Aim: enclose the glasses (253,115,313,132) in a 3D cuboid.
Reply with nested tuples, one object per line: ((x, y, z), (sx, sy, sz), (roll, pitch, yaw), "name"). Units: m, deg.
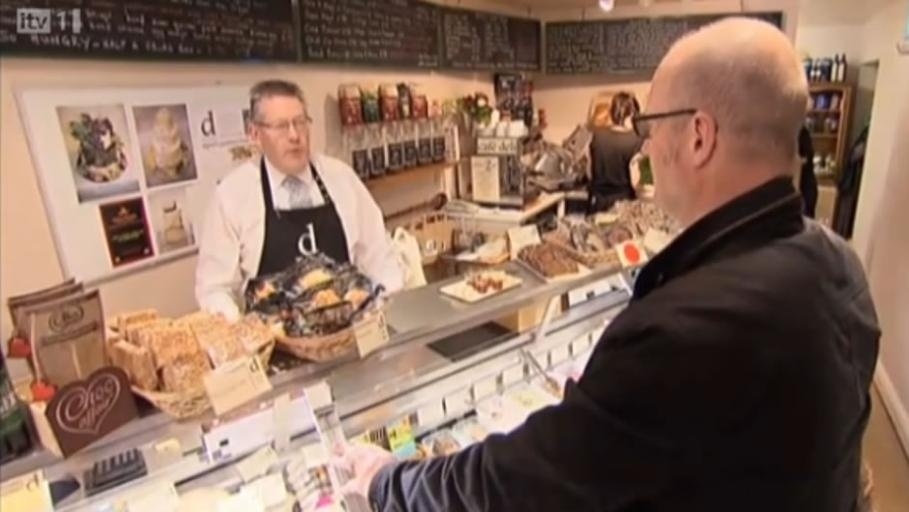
((-0.669, -0.521, 2.187), (0.219, 0.048, 0.025), (-12, 21, -25), "glasses")

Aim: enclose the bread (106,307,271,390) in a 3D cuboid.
((-0.963, 0.325, 2.046), (0.547, 0.267, 0.183), (-10, 20, -18), "bread")

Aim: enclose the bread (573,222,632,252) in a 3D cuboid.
((0.772, -0.097, 2.940), (0.259, 0.075, 0.155), (-8, 19, -16), "bread")

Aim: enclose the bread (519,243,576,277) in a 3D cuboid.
((0.460, 0.018, 2.771), (0.188, 0.064, 0.229), (-7, 23, -22), "bread")

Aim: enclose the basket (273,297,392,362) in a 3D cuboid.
((-0.484, 0.310, 2.203), (0.280, 0.099, 0.239), (-16, 0, 16), "basket")
